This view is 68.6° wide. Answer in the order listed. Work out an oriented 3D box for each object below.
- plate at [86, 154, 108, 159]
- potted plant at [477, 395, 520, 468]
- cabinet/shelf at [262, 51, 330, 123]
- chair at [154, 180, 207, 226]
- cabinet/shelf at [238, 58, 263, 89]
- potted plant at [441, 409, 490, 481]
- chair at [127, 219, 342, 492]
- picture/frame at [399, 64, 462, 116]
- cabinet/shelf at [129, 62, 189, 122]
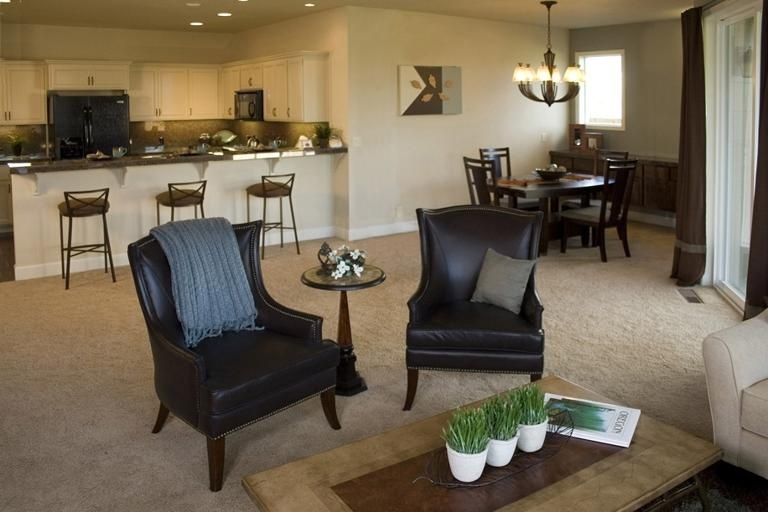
[{"bbox_3d":[-3.657,-1.258,7.174,0.248,0.064,0.178,-7,15,-15],"label":"plate"},{"bbox_3d":[0.545,0.919,3.003,0.274,0.323,0.283,1,3,-9],"label":"potted plant"},{"bbox_3d":[-1.355,-2.495,8.441,1.192,0.955,0.418,11,19,42],"label":"cabinet/shelf"},{"bbox_3d":[-2.581,-0.683,7.162,0.687,0.547,0.774,-8,15,-20],"label":"chair"},{"bbox_3d":[-2.195,-2.951,9.252,0.118,0.438,0.911,-11,16,-29],"label":"cabinet/shelf"},{"bbox_3d":[0.420,0.938,2.843,0.225,0.315,0.222,-3,14,-1],"label":"potted plant"},{"bbox_3d":[-0.889,0.563,4.336,1.604,1.871,1.535,8,12,41],"label":"chair"},{"bbox_3d":[0.645,-2.501,8.423,0.818,0.589,0.126,-4,7,-28],"label":"picture/frame"},{"bbox_3d":[-3.975,-2.898,9.809,0.998,0.940,0.391,-4,17,-25],"label":"cabinet/shelf"}]
